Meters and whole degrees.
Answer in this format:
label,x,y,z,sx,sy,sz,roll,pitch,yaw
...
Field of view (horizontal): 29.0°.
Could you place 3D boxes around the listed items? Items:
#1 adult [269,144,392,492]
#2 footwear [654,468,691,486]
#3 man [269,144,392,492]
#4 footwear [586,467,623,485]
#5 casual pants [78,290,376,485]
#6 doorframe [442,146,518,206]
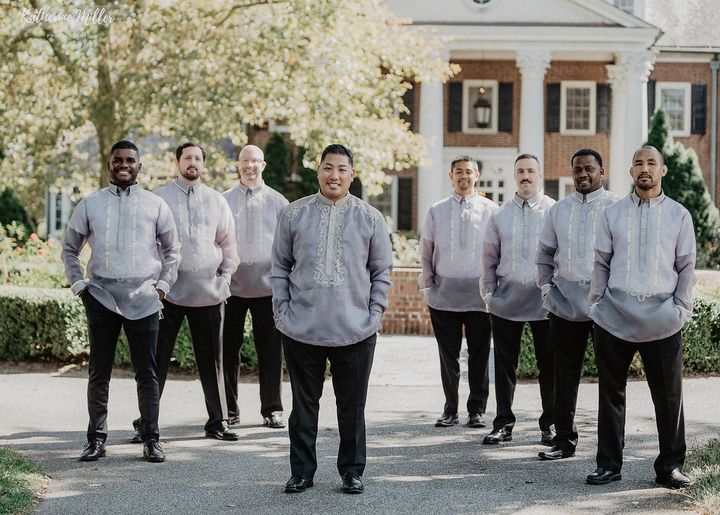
label,x,y,z,sx,sy,sz,roll,pitch,yaw
adult,-0.332,0.655,15.801,1.335,3.779,1.179,-1,14,-3
footwear,3.534,2.488,15.817,0.353,0.137,0.162,-14,-9,41
man,-0.335,0.655,15.801,1.328,3.779,1.176,-1,14,-4
footwear,2.765,2.480,15.865,0.386,0.148,0.158,4,-9,-17
casual pants,-1.560,1.548,16.651,2.384,1.792,0.564,0,-14,2
doorframe,3.257,-1.940,38.565,2.343,1.900,1.329,4,-25,11
